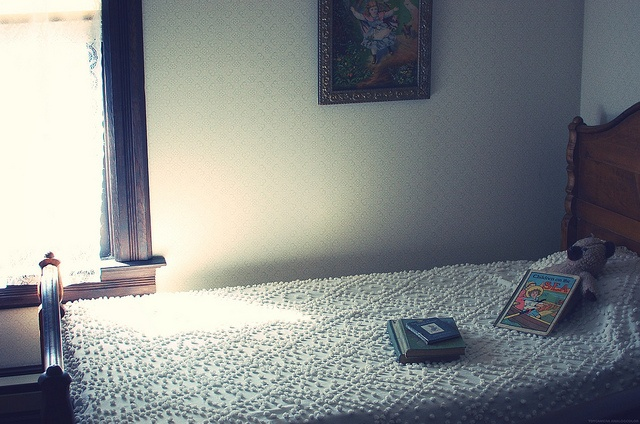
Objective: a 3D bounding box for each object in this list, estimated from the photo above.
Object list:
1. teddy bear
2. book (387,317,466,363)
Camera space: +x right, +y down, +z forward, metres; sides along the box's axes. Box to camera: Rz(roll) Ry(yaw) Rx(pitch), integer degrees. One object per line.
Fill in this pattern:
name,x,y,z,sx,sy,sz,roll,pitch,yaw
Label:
teddy bear,1.698,0.331,3.168,0.384,0.263,0.436,-4,6,18
book,0.612,0.749,2.865,0.441,0.249,0.267,-9,-8,14
